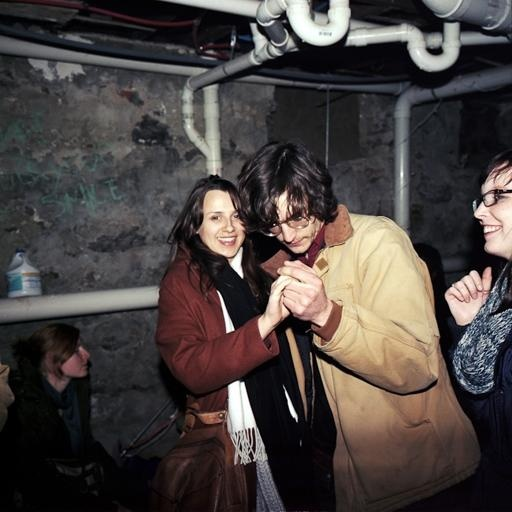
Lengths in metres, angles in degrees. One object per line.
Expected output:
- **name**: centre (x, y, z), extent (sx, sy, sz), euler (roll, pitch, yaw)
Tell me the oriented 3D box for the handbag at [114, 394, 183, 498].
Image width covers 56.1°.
- **handbag**: centre (-0.897, 1.590, 3.973), extent (0.196, 0.679, 0.683), euler (11, -34, 27)
